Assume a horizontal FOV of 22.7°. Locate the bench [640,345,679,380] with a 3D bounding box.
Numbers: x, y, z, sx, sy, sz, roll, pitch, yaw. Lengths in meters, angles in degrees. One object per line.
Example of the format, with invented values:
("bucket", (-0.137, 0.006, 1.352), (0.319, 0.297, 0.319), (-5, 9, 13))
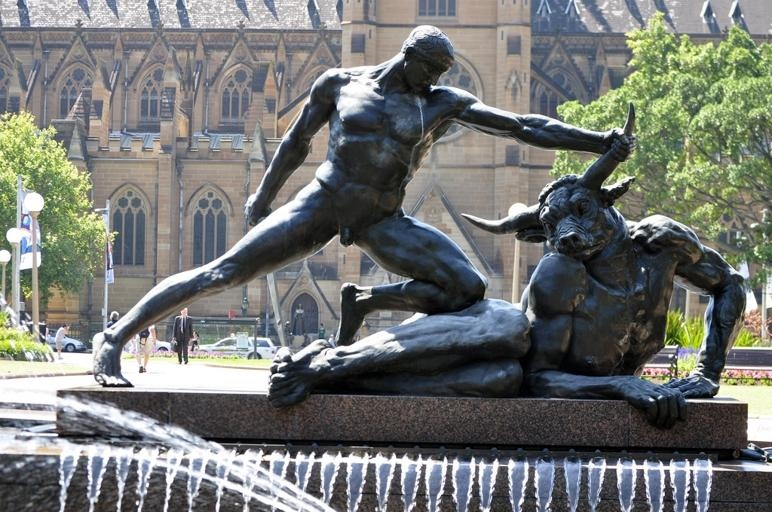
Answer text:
("bench", (13.746, 5.608, 98.124), (1.618, 1.390, 1.191), (5, -3, -16))
